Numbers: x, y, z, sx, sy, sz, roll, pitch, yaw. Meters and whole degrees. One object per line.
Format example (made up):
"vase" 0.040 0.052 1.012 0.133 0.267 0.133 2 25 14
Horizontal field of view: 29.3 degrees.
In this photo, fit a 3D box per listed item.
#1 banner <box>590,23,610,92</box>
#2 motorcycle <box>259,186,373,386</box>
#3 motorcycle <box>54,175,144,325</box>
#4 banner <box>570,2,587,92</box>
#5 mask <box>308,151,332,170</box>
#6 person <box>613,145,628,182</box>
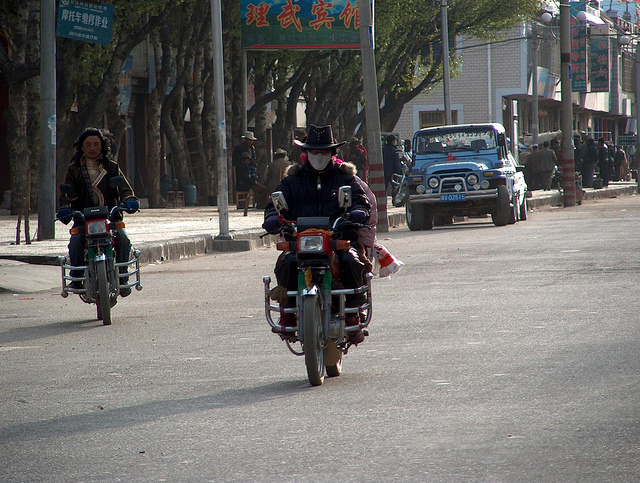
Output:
"banner" 17.210 -11.409 75.275 1.341 4.397 0.888 3 34 20
"motorcycle" -0.026 0.341 9.759 0.881 1.559 0.830 -1 5 1
"motorcycle" -2.368 0.064 13.205 0.848 1.533 1.106 -2 5 -9
"banner" 14.446 -10.347 68.368 0.845 3.784 2.795 0 5 11
"mask" -0.001 -0.667 10.056 0.137 0.133 0.148 2 3 -3
"person" 14.141 -3.696 57.893 0.486 1.635 3.739 0 6 15
